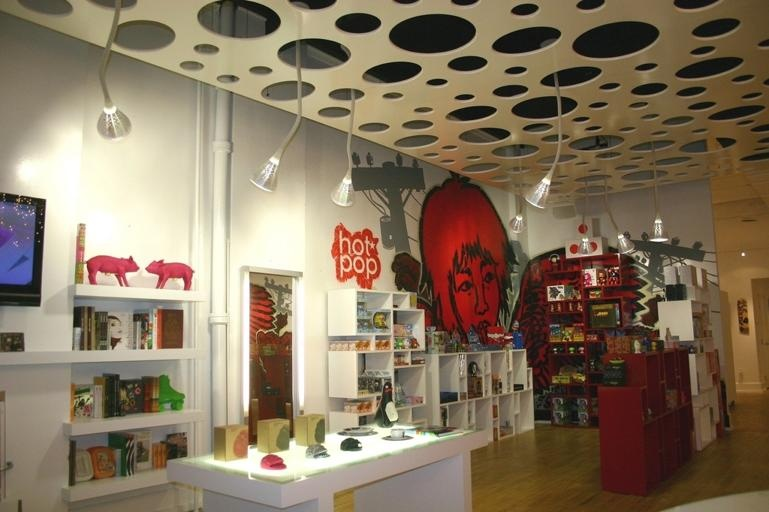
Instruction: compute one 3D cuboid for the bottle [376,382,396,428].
[{"bbox_3d":[0.008,1.576,5.905,0.216,0.455,0.263,0,-5,-4],"label":"bottle"}]
